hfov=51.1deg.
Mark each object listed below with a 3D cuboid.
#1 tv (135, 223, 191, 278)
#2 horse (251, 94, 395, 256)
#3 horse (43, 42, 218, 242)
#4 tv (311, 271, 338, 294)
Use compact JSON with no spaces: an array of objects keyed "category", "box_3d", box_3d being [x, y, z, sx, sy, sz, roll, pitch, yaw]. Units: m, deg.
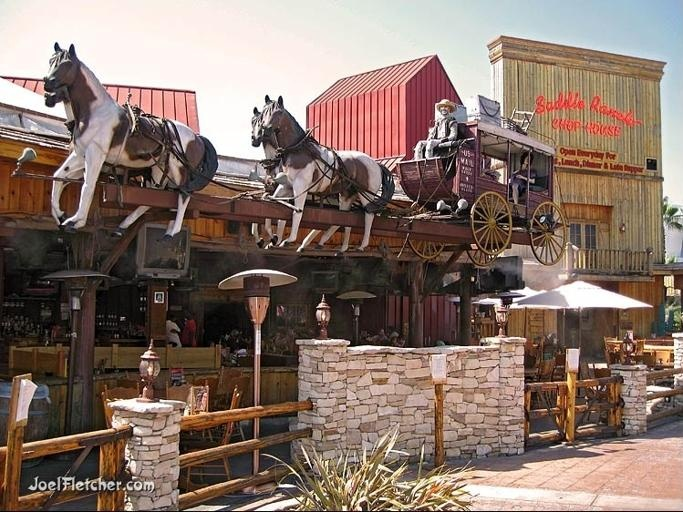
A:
[{"category":"tv","box_3d":[-3.724,-0.132,14.846,1.156,1.111,0.632,0,2,-44]},{"category":"horse","box_3d":[-0.409,-1.426,13.468,2.953,2.642,0.708,8,-14,-42]},{"category":"horse","box_3d":[-3.521,-1.795,11.644,2.631,2.846,0.687,6,-13,-33]},{"category":"tv","box_3d":[-0.527,0.804,22.364,0.699,0.531,0.068,0,0,-19]}]
